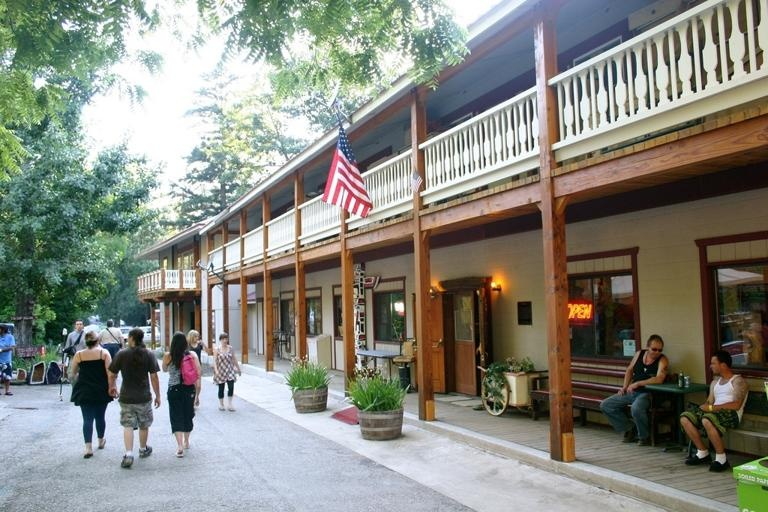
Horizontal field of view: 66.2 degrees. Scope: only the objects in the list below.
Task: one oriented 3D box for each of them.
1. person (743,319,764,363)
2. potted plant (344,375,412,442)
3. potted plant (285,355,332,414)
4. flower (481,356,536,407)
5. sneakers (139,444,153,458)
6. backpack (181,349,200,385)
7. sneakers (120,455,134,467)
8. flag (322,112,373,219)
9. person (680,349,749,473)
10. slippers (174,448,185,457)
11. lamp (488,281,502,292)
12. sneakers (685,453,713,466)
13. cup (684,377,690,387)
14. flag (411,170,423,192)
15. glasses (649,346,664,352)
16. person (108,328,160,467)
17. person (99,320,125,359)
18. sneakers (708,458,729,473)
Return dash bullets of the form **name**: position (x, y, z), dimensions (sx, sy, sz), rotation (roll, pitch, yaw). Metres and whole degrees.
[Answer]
- **person**: position (6.099, 1.437, 9.719), dimensions (0.303, 0.721, 0.127), rotation (-1, 1, 30)
- **potted plant**: position (-0.150, 3.044, 11.823), dimensions (1.051, 1.089, 1.103), rotation (2, -8, -19)
- **potted plant**: position (-1.771, 3.250, 14.419), dimensions (0.948, 1.064, 0.939), rotation (-1, -6, -34)
- **flower**: position (2.708, 2.706, 12.677), dimensions (0.789, 0.851, 1.106), rotation (4, -6, -25)
- **sneakers**: position (-4.258, 3.518, 10.548), dimensions (0.107, 0.127, 0.264), rotation (2, 6, 5)
- **backpack**: position (-3.543, 2.083, 10.765), dimensions (0.283, 0.586, 0.438), rotation (-2, 1, -8)
- **sneakers**: position (-4.311, 3.497, 9.913), dimensions (0.125, 0.125, 0.295), rotation (6, -25, -24)
- **flag**: position (-0.874, -2.166, 13.963), dimensions (1.125, 2.458, 1.286), rotation (-1, 1, -4)
- **person**: position (5.141, 2.408, 9.289), dimensions (0.836, 1.735, 0.713), rotation (-2, 1, -38)
- **slippers**: position (-3.660, 3.534, 10.558), dimensions (0.099, 0.119, 0.270), rotation (1, -2, -15)
- **lamp**: position (2.676, 0.744, 14.099), dimensions (0.078, 0.220, 0.289), rotation (-2, 1, -42)
- **sneakers**: position (4.900, 3.214, 9.273), dimensions (0.458, 0.179, 0.173), rotation (2, -7, -8)
- **cup**: position (5.050, 2.127, 9.866), dimensions (0.086, 0.158, 0.159), rotation (-5, -8, 32)
- **flag**: position (0.705, -1.606, 12.568), dimensions (0.213, 0.472, 0.247), rotation (-1, 1, 3)
- **glasses**: position (4.773, 1.648, 10.346), dimensions (0.205, 0.077, 0.093), rotation (-1, 0, 3)
- **person**: position (-4.381, 2.429, 10.372), dimensions (0.808, 1.660, 1.158), rotation (-2, 1, -24)
- **person**: position (-7.596, 2.496, 16.475), dimensions (0.660, 1.591, 0.448), rotation (3, 20, -12)
- **sneakers**: position (5.098, 3.216, 8.984), dimensions (0.396, 0.123, 0.137), rotation (5, -11, -34)
